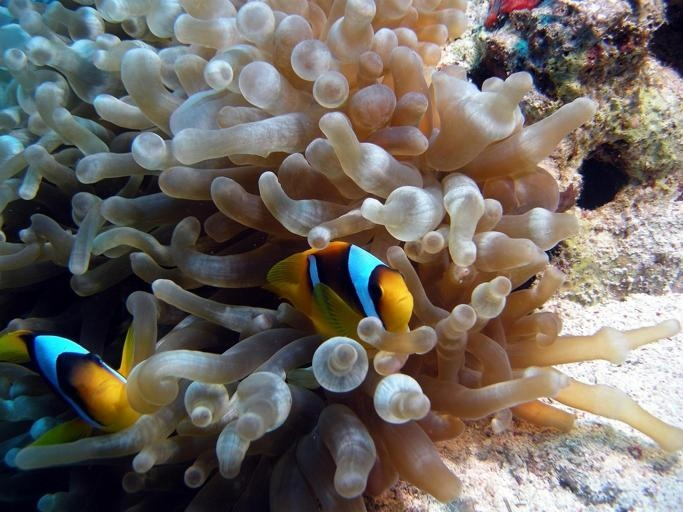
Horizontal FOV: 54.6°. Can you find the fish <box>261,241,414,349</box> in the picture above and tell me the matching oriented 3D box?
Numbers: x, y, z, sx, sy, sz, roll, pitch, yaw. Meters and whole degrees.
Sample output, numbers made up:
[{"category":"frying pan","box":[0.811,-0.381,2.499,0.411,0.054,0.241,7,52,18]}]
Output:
[{"category":"fish","box":[0.015,0.080,1.716,0.368,0.189,0.258,14,102,25]}]
